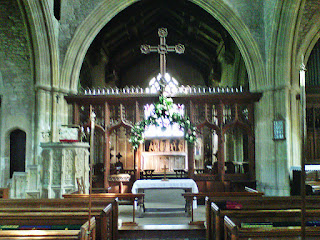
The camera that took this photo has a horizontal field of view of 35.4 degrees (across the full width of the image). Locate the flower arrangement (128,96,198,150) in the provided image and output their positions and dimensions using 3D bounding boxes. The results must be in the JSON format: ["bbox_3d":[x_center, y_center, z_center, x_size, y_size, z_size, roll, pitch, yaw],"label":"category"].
[{"bbox_3d":[0.003,0.046,14.402,1.506,1.404,1.902,-8,-11,32],"label":"flower arrangement"}]

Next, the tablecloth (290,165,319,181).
[{"bbox_3d":[4.363,1.564,14.984,0.813,0.478,0.504,1,-10,-23],"label":"tablecloth"}]

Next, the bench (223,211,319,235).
[{"bbox_3d":[2.324,2.074,10.171,1.995,0.416,0.937,-3,-10,2],"label":"bench"}]

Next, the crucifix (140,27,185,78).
[{"bbox_3d":[0.084,-1.811,14.191,1.047,0.314,1.806,-2,-41,-2],"label":"crucifix"}]

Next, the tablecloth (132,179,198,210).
[{"bbox_3d":[0.146,2.060,13.961,1.812,0.899,1.492,-3,-10,2],"label":"tablecloth"}]
